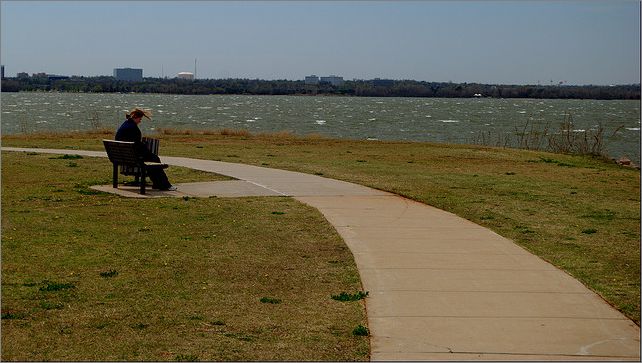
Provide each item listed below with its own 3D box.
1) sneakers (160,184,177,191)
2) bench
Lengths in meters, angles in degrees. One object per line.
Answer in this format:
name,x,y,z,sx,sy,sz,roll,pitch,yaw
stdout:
sneakers,-4.681,0.206,27.140,0.486,0.137,0.146,-4,10,-14
bench,-5.704,-0.482,26.845,1.559,1.568,0.863,10,18,32
